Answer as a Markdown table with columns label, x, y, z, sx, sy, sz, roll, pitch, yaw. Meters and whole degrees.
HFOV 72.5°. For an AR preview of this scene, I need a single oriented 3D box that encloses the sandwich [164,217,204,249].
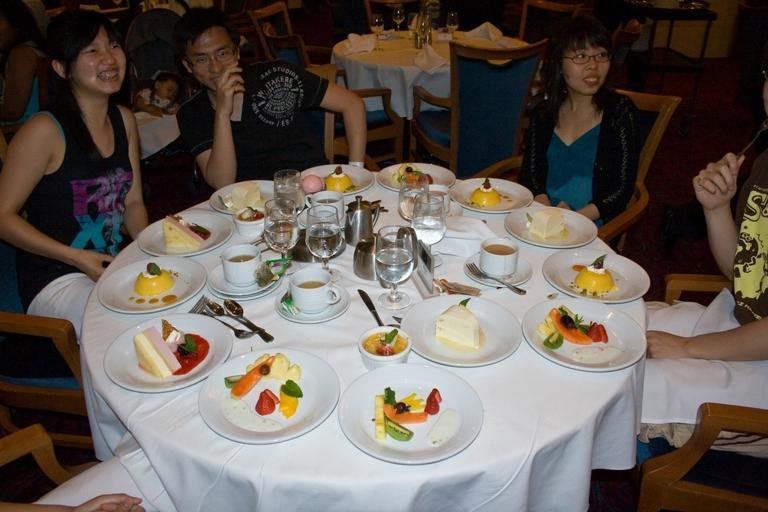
| label | x | y | z | sx | sy | sz | roll | pitch | yaw |
| --- | --- | --- | --- | --- | --- | --- | --- | --- | --- |
| sandwich | -0.979 | -0.119 | 2.605 | 0.167 | 0.159 | 0.052 | -20 | 11 | 20 |

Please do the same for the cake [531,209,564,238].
| label | x | y | z | sx | sy | sz | roll | pitch | yaw |
| --- | --- | --- | --- | --- | --- | --- | --- | --- | --- |
| cake | 0.813 | -0.174 | 2.609 | 0.149 | 0.113 | 0.110 | -18 | 27 | -30 |

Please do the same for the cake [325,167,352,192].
| label | x | y | z | sx | sy | sz | roll | pitch | yaw |
| --- | --- | --- | --- | --- | --- | --- | --- | --- | --- |
| cake | -0.261 | -0.421 | 2.938 | 0.150 | 0.111 | 0.156 | -8 | 38 | -14 |

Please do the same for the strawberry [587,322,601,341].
| label | x | y | z | sx | sy | sz | roll | pitch | yaw |
| --- | --- | --- | --- | --- | --- | --- | --- | --- | --- |
| strawberry | 0.829 | 0.298 | 2.080 | 0.052 | 0.080 | 0.054 | 1 | 6 | 24 |

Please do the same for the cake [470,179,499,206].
| label | x | y | z | sx | sy | sz | roll | pitch | yaw |
| --- | --- | --- | --- | --- | --- | --- | --- | --- | --- |
| cake | 0.534 | -0.318 | 2.811 | 0.139 | 0.107 | 0.151 | -6 | 39 | -7 |

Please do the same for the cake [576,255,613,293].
| label | x | y | z | sx | sy | sz | roll | pitch | yaw |
| --- | --- | --- | --- | --- | --- | --- | --- | --- | --- |
| cake | 0.903 | 0.097 | 2.315 | 0.153 | 0.114 | 0.153 | -7 | 32 | -2 |

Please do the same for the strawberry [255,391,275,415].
| label | x | y | z | sx | sy | sz | roll | pitch | yaw |
| --- | --- | --- | --- | --- | --- | --- | --- | --- | --- |
| strawberry | -0.413 | 0.521 | 1.844 | 0.069 | 0.041 | 0.076 | -24 | 79 | -10 |

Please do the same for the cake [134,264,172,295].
| label | x | y | z | sx | sy | sz | roll | pitch | yaw |
| --- | --- | --- | --- | --- | --- | --- | --- | --- | --- |
| cake | -1.005 | 0.113 | 2.319 | 0.139 | 0.102 | 0.142 | 26 | 40 | 30 |

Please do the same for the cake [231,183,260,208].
| label | x | y | z | sx | sy | sz | roll | pitch | yaw |
| --- | --- | --- | --- | --- | --- | --- | --- | --- | --- |
| cake | -0.726 | -0.311 | 2.826 | 0.126 | 0.123 | 0.130 | 11 | 31 | 18 |

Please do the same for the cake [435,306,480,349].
| label | x | y | z | sx | sy | sz | roll | pitch | yaw |
| --- | --- | --- | --- | --- | --- | --- | --- | --- | --- |
| cake | 0.296 | 0.268 | 2.073 | 0.172 | 0.126 | 0.102 | 12 | 26 | 28 |
